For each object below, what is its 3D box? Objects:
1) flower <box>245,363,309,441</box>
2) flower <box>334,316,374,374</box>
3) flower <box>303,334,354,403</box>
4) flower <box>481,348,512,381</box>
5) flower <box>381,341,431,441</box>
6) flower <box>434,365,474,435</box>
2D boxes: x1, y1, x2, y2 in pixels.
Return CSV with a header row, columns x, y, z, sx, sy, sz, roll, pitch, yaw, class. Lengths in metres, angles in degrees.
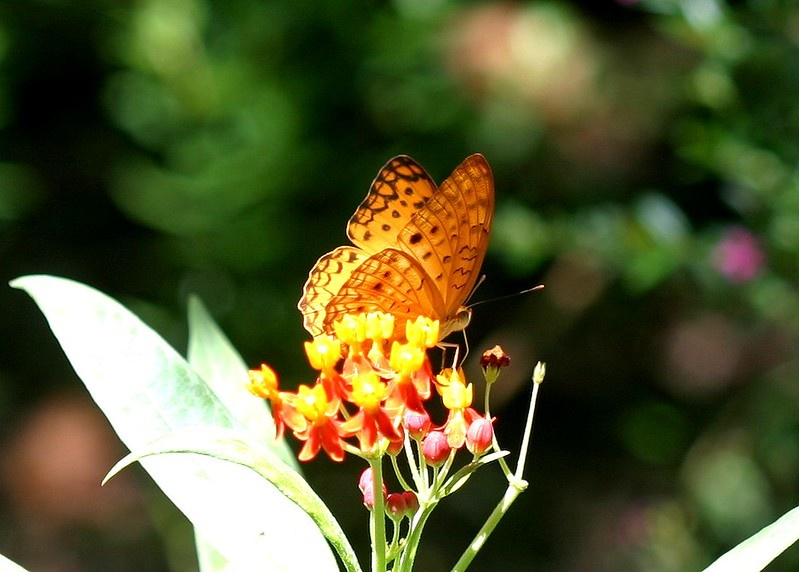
x,y,z,sx,sy,sz,roll,pitch,yaw,class
-0.361,0.330,2.555,0.200,0.112,0.207,53,-15,-23,flower
-0.135,0.182,2.622,0.122,0.227,0.157,-4,-12,-5,flower
-0.205,0.240,2.605,0.086,0.172,0.167,-17,-11,-7,flower
0.302,0.246,2.728,0.093,0.050,0.095,-3,-10,4,flower
0.033,0.304,2.567,0.117,0.239,0.233,-5,-54,6,flower
0.200,0.348,2.608,0.078,0.171,0.163,-8,-11,-19,flower
